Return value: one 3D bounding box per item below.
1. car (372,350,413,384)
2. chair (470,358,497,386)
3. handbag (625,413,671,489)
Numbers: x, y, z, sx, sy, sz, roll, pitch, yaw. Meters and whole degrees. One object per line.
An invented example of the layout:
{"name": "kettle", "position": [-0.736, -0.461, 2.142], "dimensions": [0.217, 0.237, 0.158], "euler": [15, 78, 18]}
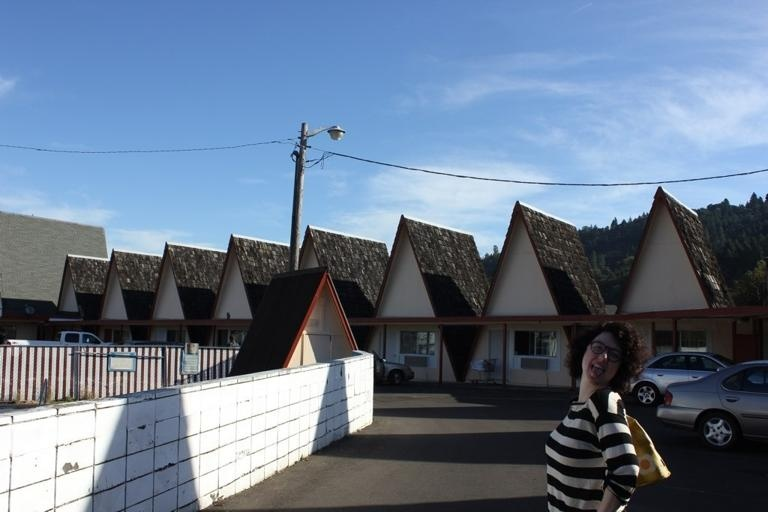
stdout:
{"name": "car", "position": [0.352, 5.379, 34.416], "dimensions": [2.046, 1.015, 1.127], "euler": [-2, -1, -2]}
{"name": "chair", "position": [4.819, 5.640, 35.593], "dimensions": [1.240, 1.250, 1.077], "euler": [11, -17, -27]}
{"name": "handbag", "position": [2.917, 2.165, 8.072], "dimensions": [0.400, 0.791, 0.617], "euler": [-3, -7, 21]}
